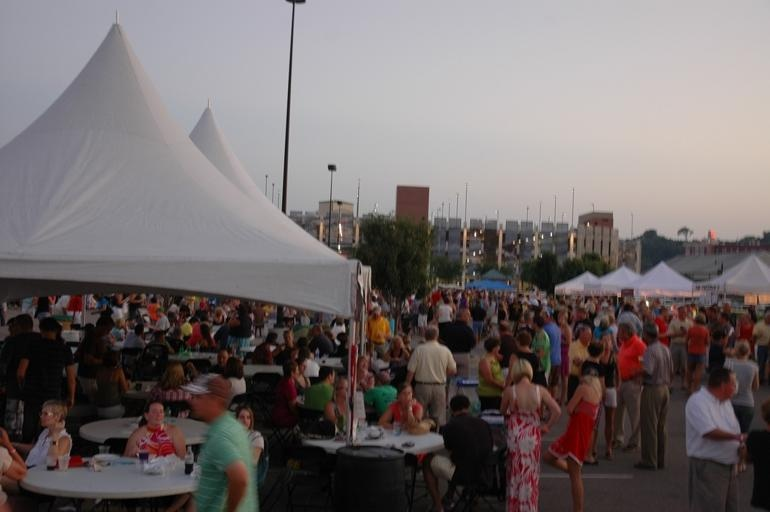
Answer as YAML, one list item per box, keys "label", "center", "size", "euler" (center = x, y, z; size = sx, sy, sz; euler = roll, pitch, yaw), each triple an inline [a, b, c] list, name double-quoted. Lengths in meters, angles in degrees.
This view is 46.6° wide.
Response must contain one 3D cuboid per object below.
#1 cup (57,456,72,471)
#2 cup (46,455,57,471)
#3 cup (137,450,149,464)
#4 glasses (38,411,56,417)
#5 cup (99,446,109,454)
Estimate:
- label: "cup"
  center: [-4.607, 2.959, 12.767]
  size: [0.137, 0.182, 0.156]
  euler: [2, -8, -4]
- label: "cup"
  center: [-4.799, 2.984, 12.790]
  size: [0.140, 0.162, 0.134]
  euler: [1, -10, 0]
- label: "cup"
  center: [-3.464, 2.874, 12.726]
  size: [0.129, 0.154, 0.134]
  euler: [1, -2, 0]
- label: "glasses"
  center: [-4.920, 2.280, 12.940]
  size: [0.209, 0.076, 0.070]
  euler: [0, 0, 12]
- label: "cup"
  center: [-4.245, 2.900, 13.424]
  size: [0.113, 0.106, 0.124]
  euler: [3, -4, 0]
